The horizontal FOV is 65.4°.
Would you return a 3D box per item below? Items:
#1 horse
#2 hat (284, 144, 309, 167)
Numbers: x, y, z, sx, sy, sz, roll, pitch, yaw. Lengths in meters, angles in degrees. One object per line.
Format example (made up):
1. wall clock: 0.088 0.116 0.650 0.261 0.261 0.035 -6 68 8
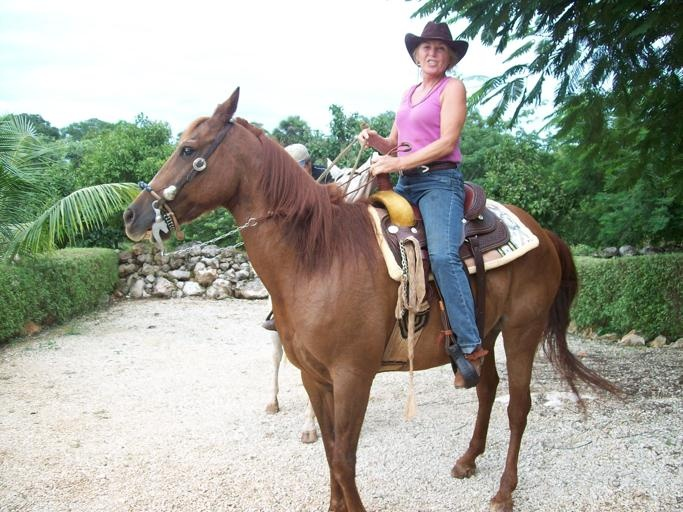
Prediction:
1. horse: 0.230 0.387 4.145 3.490 3.289 1.116 -4 9 -24
2. hat: -0.448 -1.063 5.460 0.281 0.235 0.403 0 9 2
